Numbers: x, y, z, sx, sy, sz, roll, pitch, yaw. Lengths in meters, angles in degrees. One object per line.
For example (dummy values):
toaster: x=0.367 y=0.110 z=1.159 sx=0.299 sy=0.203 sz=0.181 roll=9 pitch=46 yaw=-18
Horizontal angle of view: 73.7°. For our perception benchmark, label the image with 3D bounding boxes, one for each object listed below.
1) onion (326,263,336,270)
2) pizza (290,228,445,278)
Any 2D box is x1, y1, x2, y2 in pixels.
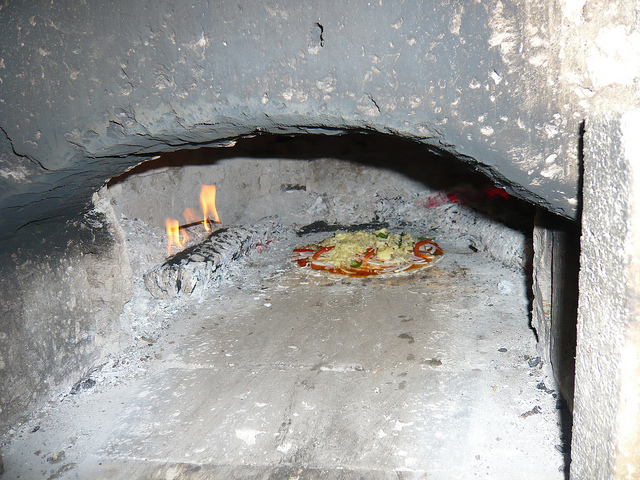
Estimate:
onion: x=0.088 y=0.199 z=3.262 sx=0.036 sy=0.017 sz=0.045 roll=20 pitch=10 yaw=-37
pizza: x=0.376 y=0.096 z=3.429 sx=1.220 sy=0.292 sz=0.722 roll=-8 pitch=-5 yaw=-3
